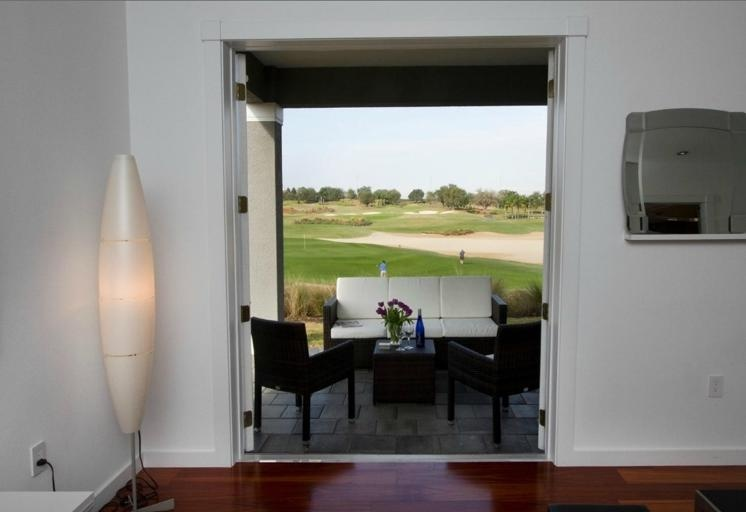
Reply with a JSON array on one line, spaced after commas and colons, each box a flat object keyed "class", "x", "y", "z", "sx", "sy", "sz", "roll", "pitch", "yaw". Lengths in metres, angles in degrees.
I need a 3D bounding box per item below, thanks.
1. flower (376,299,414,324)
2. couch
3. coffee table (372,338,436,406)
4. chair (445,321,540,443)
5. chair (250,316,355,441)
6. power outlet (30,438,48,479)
[{"class": "flower", "x": 0.161, "y": 0.484, "z": 5.596, "sx": 0.252, "sy": 0.211, "sz": 0.256, "roll": 4, "pitch": -2, "yaw": -13}, {"class": "couch", "x": 0.395, "y": 0.656, "z": 6.419, "sx": 1.728, "sy": 0.814, "sz": 0.743, "roll": -1, "pitch": 0, "yaw": 2}, {"class": "coffee table", "x": 0.238, "y": 0.950, "z": 5.341, "sx": 0.454, "sy": 0.368, "sz": 0.482, "roll": 0, "pitch": 2, "yaw": 0}, {"class": "chair", "x": 0.971, "y": 0.923, "z": 5.072, "sx": 0.759, "sy": 0.837, "sz": 0.802, "roll": 0, "pitch": 4, "yaw": -8}, {"class": "chair", "x": -0.551, "y": 0.904, "z": 5.152, "sx": 0.805, "sy": 0.902, "sz": 0.798, "roll": -5, "pitch": 9, "yaw": -25}, {"class": "power outlet", "x": -1.874, "y": 1.139, "z": 3.650, "sx": 0.024, "sy": 0.179, "sz": 0.120, "roll": 3, "pitch": 11, "yaw": 21}]
